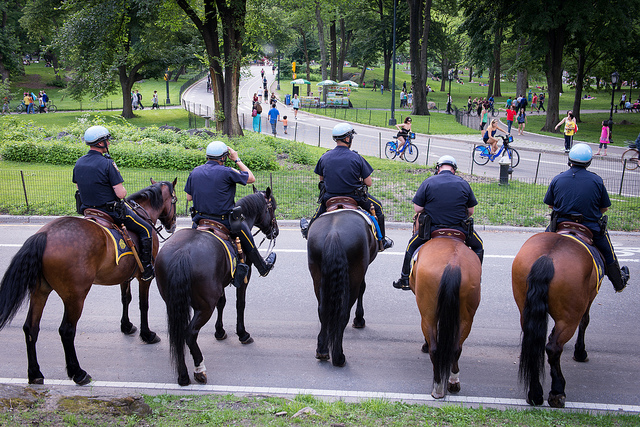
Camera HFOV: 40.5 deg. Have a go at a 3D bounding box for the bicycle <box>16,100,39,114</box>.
[{"bbox_3d":[-27.903,-10.156,81.800,2.582,1.475,1.251,0,9,-4],"label":"bicycle"}]

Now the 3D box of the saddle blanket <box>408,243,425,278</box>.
[{"bbox_3d":[3.696,1.745,32.780,0.264,1.154,0.757,20,1,-7],"label":"saddle blanket"}]

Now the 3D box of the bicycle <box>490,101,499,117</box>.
[{"bbox_3d":[16.862,-9.815,82.939,1.072,1.316,2.149,-2,7,12],"label":"bicycle"}]

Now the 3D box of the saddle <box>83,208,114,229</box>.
[{"bbox_3d":[-8.420,0.137,33.020,0.950,0.523,0.717,24,-19,-1],"label":"saddle"}]
